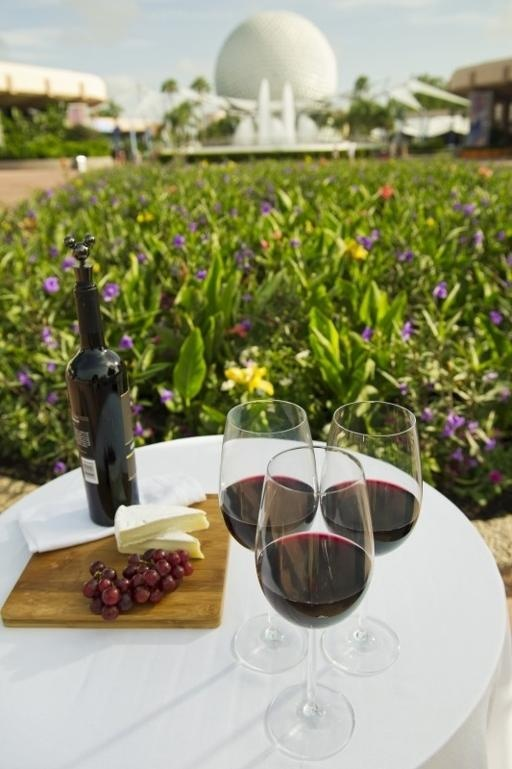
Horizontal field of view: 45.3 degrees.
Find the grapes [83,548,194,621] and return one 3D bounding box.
[{"bbox_3d":[-0.185,0.288,0.937,0.104,0.086,0.151,12,20,37],"label":"grapes"}]

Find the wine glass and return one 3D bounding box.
[{"bbox_3d":[0.101,0.165,0.938,0.315,0.575,0.327,16,31,33],"label":"wine glass"}]
